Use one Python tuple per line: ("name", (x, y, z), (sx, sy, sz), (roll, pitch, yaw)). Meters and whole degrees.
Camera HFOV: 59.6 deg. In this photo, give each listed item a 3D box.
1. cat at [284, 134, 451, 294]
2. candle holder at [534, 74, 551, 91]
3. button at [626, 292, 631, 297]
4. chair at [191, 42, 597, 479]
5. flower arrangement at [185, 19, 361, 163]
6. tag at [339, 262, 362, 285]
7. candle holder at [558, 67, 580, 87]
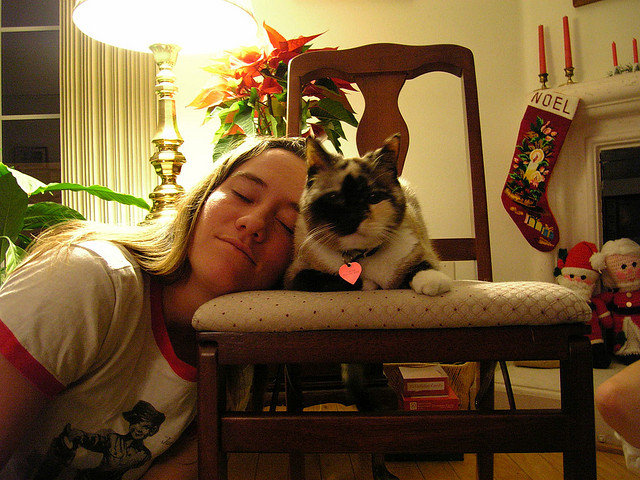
("cat", (0.106, -0.053, 1.398), (0.370, 0.350, 0.505), (-2, 2, 4))
("candle holder", (1.012, -0.735, 2.566), (0.062, 0.064, 0.063), (-5, 0, -10))
("button", (1.258, 0.220, 2.274), (0.012, 0.016, 0.002), (3, 5, 19))
("chair", (0.169, 0.045, 1.593), (0.838, 1.243, 0.983), (1, 5, 2))
("flower arrangement", (-0.124, -0.454, 2.078), (0.596, 0.519, 0.582), (1, 0, -34))
("tag", (0.064, 0.069, 1.197), (0.041, 0.040, 0.006), (-16, -22, 5))
("candle holder", (1.122, -0.746, 2.537), (0.082, 0.077, 0.080), (-2, -1, -1))
